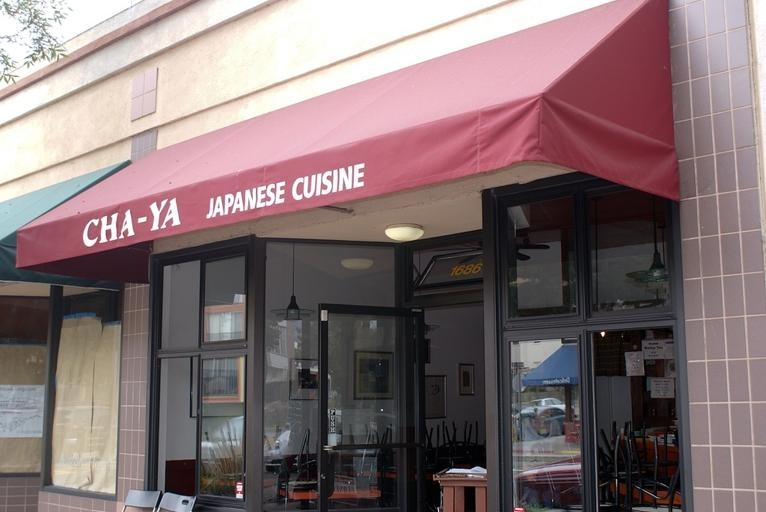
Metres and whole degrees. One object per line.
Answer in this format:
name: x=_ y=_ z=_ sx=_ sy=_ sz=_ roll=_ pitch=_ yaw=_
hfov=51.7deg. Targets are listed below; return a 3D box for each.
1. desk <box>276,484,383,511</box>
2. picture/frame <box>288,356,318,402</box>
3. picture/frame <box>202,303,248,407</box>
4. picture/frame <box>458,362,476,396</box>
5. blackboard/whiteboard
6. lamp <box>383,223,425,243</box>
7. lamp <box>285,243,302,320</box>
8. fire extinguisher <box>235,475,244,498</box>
desk: x=-0.618 y=2.861 z=9.524 sx=1.317 sy=0.385 sz=0.370 roll=-1 pitch=-17 yaw=-2
picture/frame: x=-1.003 y=1.526 z=9.680 sx=0.519 sy=0.665 sz=0.046 roll=0 pitch=-5 yaw=-10
picture/frame: x=-2.002 y=1.219 z=9.873 sx=0.792 sy=1.221 sz=0.218 roll=-14 pitch=-21 yaw=38
picture/frame: x=1.705 y=2.592 z=16.612 sx=0.051 sy=0.631 sz=0.615 roll=-7 pitch=-16 yaw=38
blackboard/whiteboard: x=-4.769 y=2.427 z=11.810 sx=2.648 sy=3.723 sz=0.244 roll=-5 pitch=-7 yaw=37
lamp: x=0.251 y=-0.289 z=9.507 sx=0.459 sy=0.166 sz=0.260 roll=-1 pitch=-17 yaw=-2
lamp: x=-1.121 y=0.326 z=9.846 sx=0.173 sy=0.942 sz=0.136 roll=0 pitch=-16 yaw=-4
fire extinguisher: x=-1.726 y=2.769 z=9.489 sx=0.026 sy=0.259 sz=0.161 roll=13 pitch=-22 yaw=-42
